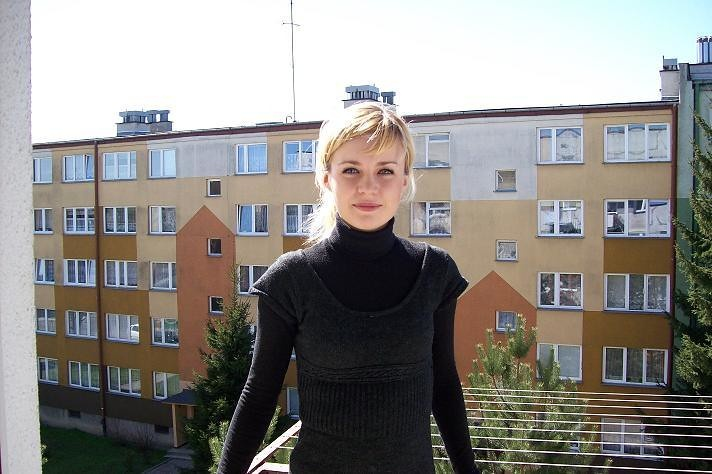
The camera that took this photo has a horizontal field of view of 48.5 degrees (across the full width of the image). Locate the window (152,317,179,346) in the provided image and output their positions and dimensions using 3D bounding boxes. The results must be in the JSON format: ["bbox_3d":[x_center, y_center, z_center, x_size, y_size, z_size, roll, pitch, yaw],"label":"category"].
[{"bbox_3d":[-8.792,4.356,36.623,1.290,1.294,0.128,2,7,26],"label":"window"}]

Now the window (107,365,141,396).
[{"bbox_3d":[-10.986,6.822,37.609,1.443,0.912,0.105,4,8,27],"label":"window"}]

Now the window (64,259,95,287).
[{"bbox_3d":[-13.428,1.715,38.506,1.243,0.924,0.133,0,1,20],"label":"window"}]

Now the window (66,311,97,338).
[{"bbox_3d":[-13.360,4.229,38.605,1.243,0.809,0.189,6,10,26],"label":"window"}]

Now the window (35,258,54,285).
[{"bbox_3d":[-15.265,1.688,38.792,1.463,1.576,0.147,8,10,37],"label":"window"}]

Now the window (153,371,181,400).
[{"bbox_3d":[-8.754,6.854,36.650,1.329,1.224,0.116,0,1,18],"label":"window"}]

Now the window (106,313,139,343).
[{"bbox_3d":[-11.035,4.305,37.512,1.321,0.880,0.113,2,4,22],"label":"window"}]
